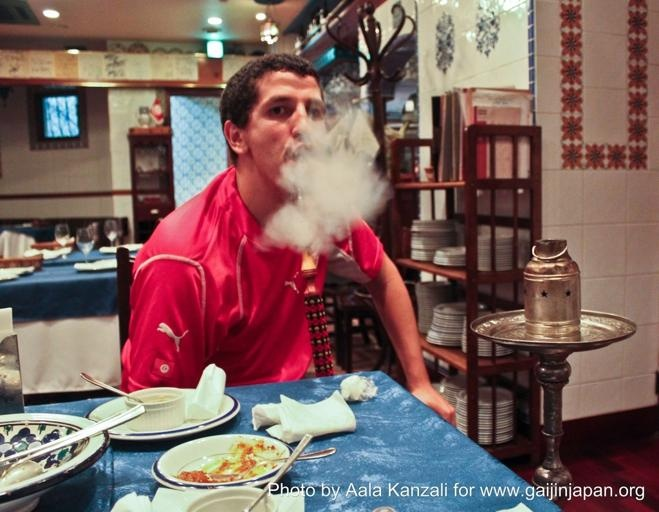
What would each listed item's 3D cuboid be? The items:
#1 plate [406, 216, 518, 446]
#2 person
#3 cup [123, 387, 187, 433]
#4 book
[{"bbox_3d":[0.533,0.286,2.414,0.294,0.860,0.878,-3,7,-13],"label":"plate"},{"bbox_3d":[-0.131,-0.067,2.017,0.887,1.133,0.967,-5,3,-44],"label":"person"},{"bbox_3d":[-0.369,0.340,1.363,0.100,0.051,0.103,1,7,0],"label":"cup"},{"bbox_3d":[0.616,-0.542,2.699,0.482,0.506,0.363,-2,7,-11],"label":"book"}]
